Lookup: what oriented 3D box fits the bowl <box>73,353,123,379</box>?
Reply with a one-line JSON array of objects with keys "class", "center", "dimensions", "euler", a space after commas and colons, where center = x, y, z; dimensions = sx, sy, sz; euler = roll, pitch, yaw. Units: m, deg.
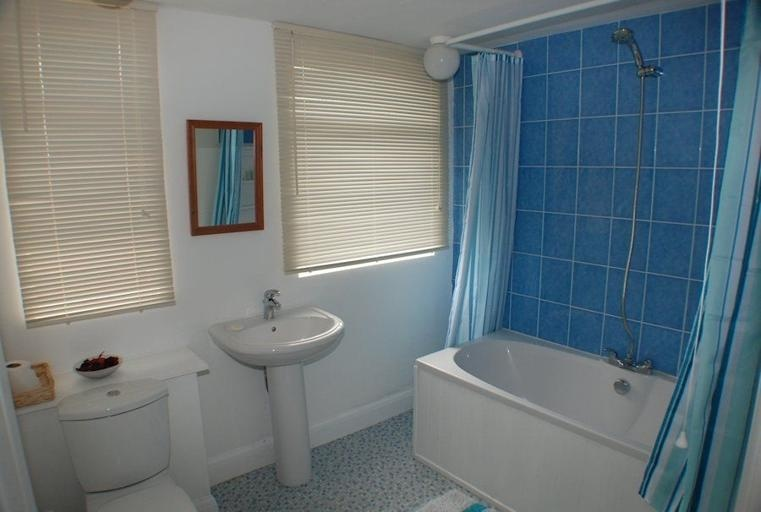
[{"class": "bowl", "center": [-1.600, 0.614, 2.976], "dimensions": [0.199, 0.098, 0.220], "euler": [9, 19, 37]}]

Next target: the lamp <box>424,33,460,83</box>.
[{"class": "lamp", "center": [0.432, -1.425, 3.752], "dimensions": [0.238, 0.280, 0.142], "euler": [-4, 15, -1]}]

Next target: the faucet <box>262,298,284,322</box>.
[{"class": "faucet", "center": [-0.723, 0.342, 3.432], "dimensions": [0.155, 0.209, 0.104], "euler": [0, 6, 2]}]

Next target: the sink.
[{"class": "sink", "center": [-0.639, 0.504, 3.282], "dimensions": [0.526, 0.151, 0.459], "euler": [-8, 15, -37]}]

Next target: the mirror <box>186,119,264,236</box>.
[{"class": "mirror", "center": [-0.977, -0.481, 3.238], "dimensions": [0.438, 0.684, 0.029], "euler": [0, 4, 11]}]
